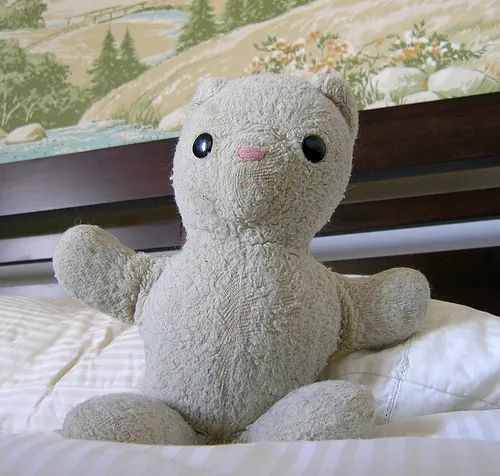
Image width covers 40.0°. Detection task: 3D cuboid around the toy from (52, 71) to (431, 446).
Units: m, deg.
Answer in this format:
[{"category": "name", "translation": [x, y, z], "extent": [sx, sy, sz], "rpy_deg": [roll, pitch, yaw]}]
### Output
[{"category": "toy", "translation": [-0.032, 0.019, 1.054], "extent": [0.619, 0.600, 0.391], "rpy_deg": [8, 9, 12]}]
